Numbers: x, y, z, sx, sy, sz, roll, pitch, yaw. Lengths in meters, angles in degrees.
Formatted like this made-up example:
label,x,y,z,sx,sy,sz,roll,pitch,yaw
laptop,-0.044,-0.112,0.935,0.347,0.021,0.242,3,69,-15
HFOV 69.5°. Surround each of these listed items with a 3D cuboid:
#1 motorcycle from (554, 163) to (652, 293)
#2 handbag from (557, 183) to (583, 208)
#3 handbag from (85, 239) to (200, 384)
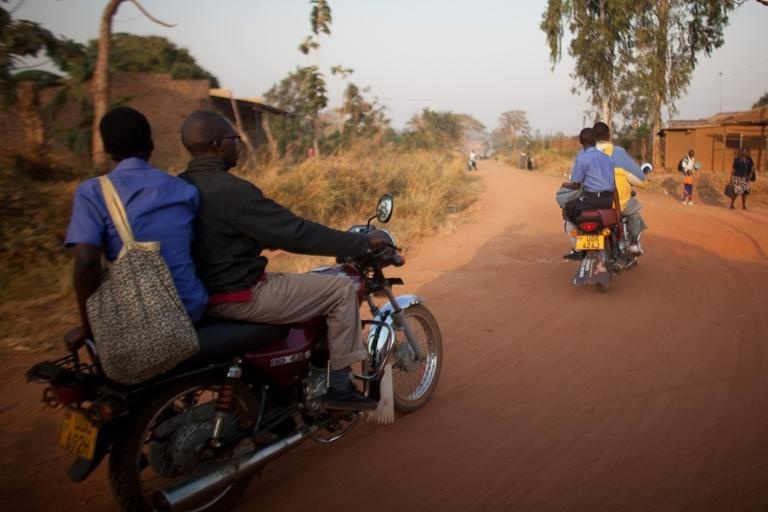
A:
label,x,y,z,sx,sy,sz,roll,pitch,yaw
motorcycle,3.088,-0.335,8.571,1.110,1.368,2.197,-3,18,30
handbag,2.737,-0.928,8.293,0.407,0.312,0.164,-15,-7,2
handbag,-1.666,0.387,3.795,0.618,0.921,0.429,-10,20,-29
